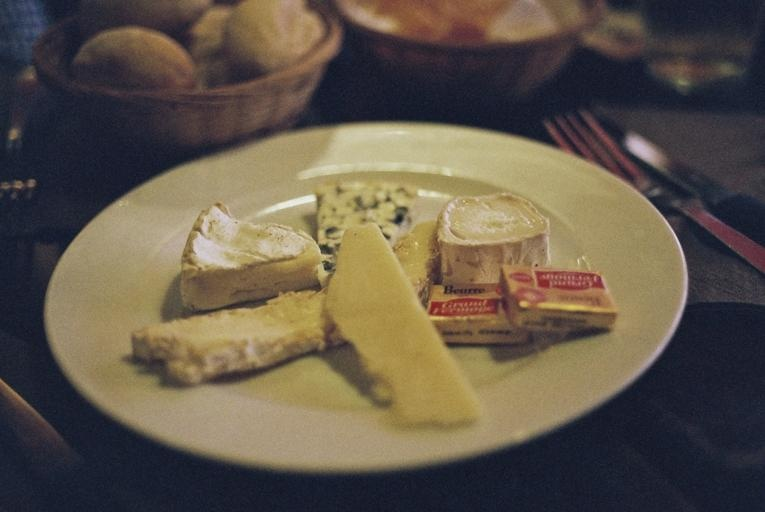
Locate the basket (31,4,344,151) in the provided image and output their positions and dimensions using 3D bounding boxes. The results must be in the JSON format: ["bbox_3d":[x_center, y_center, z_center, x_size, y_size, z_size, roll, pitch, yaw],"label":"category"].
[{"bbox_3d":[-0.375,-0.305,1.492,0.372,0.110,0.346,33,52,32],"label":"basket"}]
